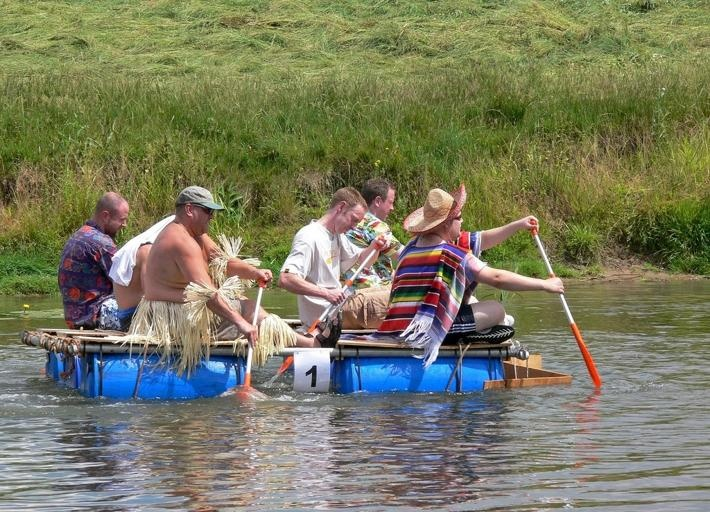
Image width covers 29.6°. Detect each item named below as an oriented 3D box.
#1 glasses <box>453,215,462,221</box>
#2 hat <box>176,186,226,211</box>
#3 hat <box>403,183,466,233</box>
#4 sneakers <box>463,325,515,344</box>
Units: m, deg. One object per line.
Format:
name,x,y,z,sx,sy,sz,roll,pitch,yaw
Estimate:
glasses,1.302,-0.483,17.039,0.075,0.074,0.076,-1,4,-10
hat,-1.908,-0.718,16.709,0.548,0.276,0.343,0,5,-14
hat,1.000,-0.576,17.084,0.726,0.585,0.620,7,14,28
sneakers,1.718,0.999,17.029,0.686,0.299,0.235,-2,-4,-10
